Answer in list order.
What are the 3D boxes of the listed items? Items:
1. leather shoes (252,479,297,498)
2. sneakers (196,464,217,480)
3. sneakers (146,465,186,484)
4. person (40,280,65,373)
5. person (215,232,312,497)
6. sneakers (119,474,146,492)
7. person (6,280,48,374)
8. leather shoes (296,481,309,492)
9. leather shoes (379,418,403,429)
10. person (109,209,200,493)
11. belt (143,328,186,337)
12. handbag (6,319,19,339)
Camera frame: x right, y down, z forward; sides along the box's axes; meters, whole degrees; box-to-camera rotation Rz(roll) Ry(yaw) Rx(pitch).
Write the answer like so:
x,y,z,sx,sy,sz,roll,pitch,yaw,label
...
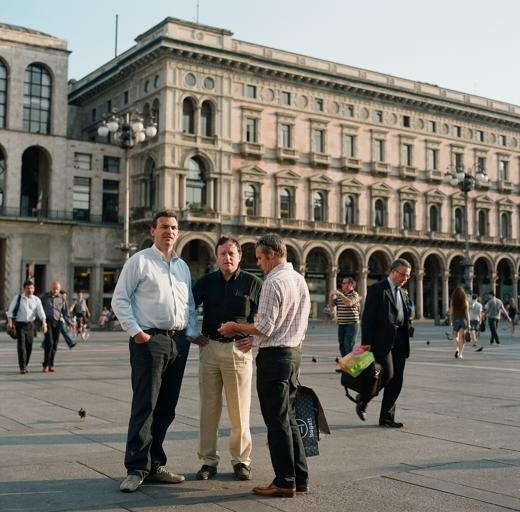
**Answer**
x,y,z,sx,sy,sz,roll,pitch,yaw,label
0.176,2.598,11.890,0.477,0.202,0.174,4,-12,10,leather shoes
-0.590,2.479,12.279,0.140,0.167,0.333,-2,-5,39,sneakers
-1.070,2.480,12.123,0.486,0.201,0.166,1,-1,0,sneakers
-4.138,1.449,21.408,0.632,1.767,0.464,4,-1,-38,person
0.158,1.213,12.087,0.799,2.914,0.484,0,-3,2,person
-1.414,2.505,11.780,0.151,0.191,0.252,-1,-4,23,sneakers
-4.518,1.373,20.775,0.792,1.805,0.702,2,-4,-20,person
0.471,2.570,11.861,0.146,0.113,0.044,1,-3,-9,leather shoes
1.790,2.312,14.661,0.312,0.131,0.115,-2,-2,4,leather shoes
-1.190,1.051,12.222,1.008,3.141,0.506,3,-4,-34,person
-1.076,0.888,12.264,0.486,0.098,0.114,3,-4,-32,belt
-4.789,1.448,20.716,0.117,0.334,0.237,-5,3,-6,handbag
